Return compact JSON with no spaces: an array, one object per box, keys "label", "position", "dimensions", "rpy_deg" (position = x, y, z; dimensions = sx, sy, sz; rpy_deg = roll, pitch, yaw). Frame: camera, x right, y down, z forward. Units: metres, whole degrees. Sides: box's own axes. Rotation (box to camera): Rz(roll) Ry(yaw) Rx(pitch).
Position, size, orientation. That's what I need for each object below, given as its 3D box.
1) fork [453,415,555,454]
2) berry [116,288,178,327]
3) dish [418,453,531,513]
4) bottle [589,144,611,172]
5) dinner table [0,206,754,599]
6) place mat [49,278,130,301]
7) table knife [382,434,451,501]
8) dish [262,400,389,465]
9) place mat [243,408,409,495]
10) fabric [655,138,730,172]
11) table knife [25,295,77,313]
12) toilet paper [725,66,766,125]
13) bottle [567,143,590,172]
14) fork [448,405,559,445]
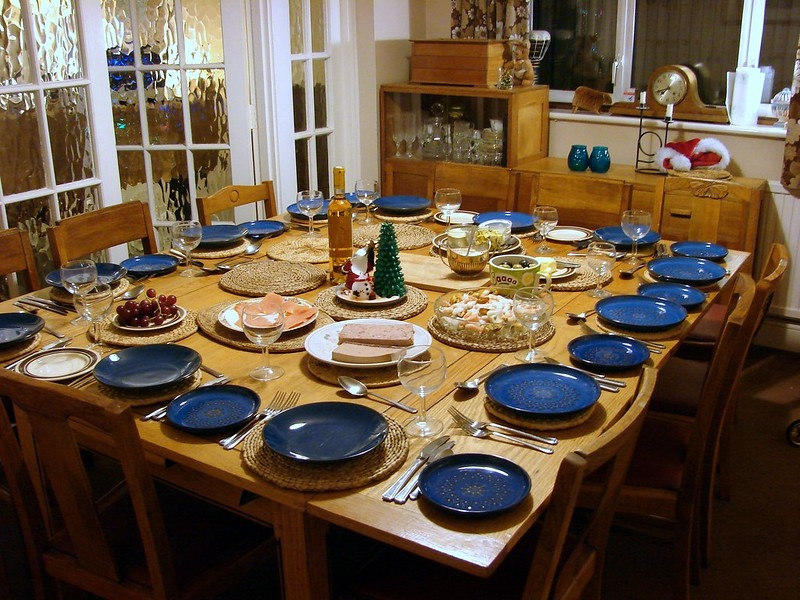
[{"label":"fork","position":[0.219,0.322,1.372],"dimensions":[0.278,0.034,0.069],"rpy_deg":[14,32,26]},{"label":"berry","position":[-0.819,0.025,1.874],"dimensions":[0.129,0.083,0.155],"rpy_deg":[8,17,11]},{"label":"dish","position":[0.149,0.381,1.168],"dimensions":[0.209,0.042,0.197],"rpy_deg":[8,20,30]},{"label":"bottle","position":[1.278,-0.901,3.694],"dimensions":[0.125,0.164,0.198],"rpy_deg":[3,19,17]},{"label":"dinner table","position":[-0.143,0.148,1.304],"dimensions":[0.966,0.427,0.903],"rpy_deg":[16,30,34]},{"label":"place mat","position":[-1.134,-0.033,2.115],"dimensions":[0.194,0.038,0.196],"rpy_deg":[13,20,39]},{"label":"table knife","position":[0.035,0.366,1.242],"dimensions":[0.062,0.012,0.215],"rpy_deg":[1,20,34]},{"label":"dish","position":[-0.170,0.307,1.300],"dimensions":[0.257,0.029,0.253],"rpy_deg":[14,24,36]},{"label":"place mat","position":[-0.172,0.355,1.273],"dimensions":[0.366,0.039,0.210],"rpy_deg":[-1,17,4]},{"label":"fabric","position":[1.755,-0.869,3.469],"dimensions":[0.371,0.131,0.261],"rpy_deg":[0,11,8]},{"label":"table knife","position":[-1.238,0.016,2.033],"dimensions":[0.304,0.013,0.073],"rpy_deg":[9,9,15]},{"label":"toilet paper","position":[2.088,-1.239,3.508],"dimensions":[0.194,0.350,0.138],"rpy_deg":[6,23,24]},{"label":"bottle","position":[1.147,-0.908,3.694],"dimensions":[0.123,0.165,0.109],"rpy_deg":[2,21,15]},{"label":"fork","position":[0.255,0.306,1.375],"dimensions":[0.273,0.032,0.033],"rpy_deg":[10,27,21]}]
